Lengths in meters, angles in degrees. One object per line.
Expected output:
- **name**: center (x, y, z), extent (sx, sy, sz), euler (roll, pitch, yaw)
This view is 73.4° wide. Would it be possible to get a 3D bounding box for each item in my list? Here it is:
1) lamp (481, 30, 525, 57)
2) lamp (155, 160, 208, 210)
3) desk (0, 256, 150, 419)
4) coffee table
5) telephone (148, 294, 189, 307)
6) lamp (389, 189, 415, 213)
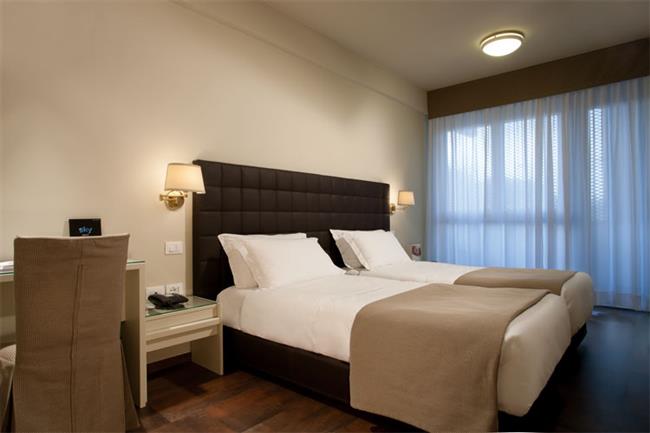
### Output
- **lamp**: center (2.177, -2.138, 5.387), extent (0.518, 0.214, 0.330), euler (2, 5, 22)
- **lamp**: center (-1.303, -0.277, 4.031), extent (0.409, 0.447, 0.324), euler (-3, 5, -30)
- **desk**: center (-1.961, 0.879, 3.640), extent (1.782, 1.231, 0.941), euler (0, 1, 38)
- **coffee table**: center (-1.172, 1.018, 3.816), extent (0.584, 0.795, 0.817), euler (-3, -3, 39)
- **telephone**: center (-1.351, 0.720, 3.807), extent (0.330, 0.090, 0.258), euler (-2, 5, -25)
- **lamp**: center (1.175, -0.226, 6.409), extent (0.265, 0.318, 0.423), euler (4, -9, -32)
